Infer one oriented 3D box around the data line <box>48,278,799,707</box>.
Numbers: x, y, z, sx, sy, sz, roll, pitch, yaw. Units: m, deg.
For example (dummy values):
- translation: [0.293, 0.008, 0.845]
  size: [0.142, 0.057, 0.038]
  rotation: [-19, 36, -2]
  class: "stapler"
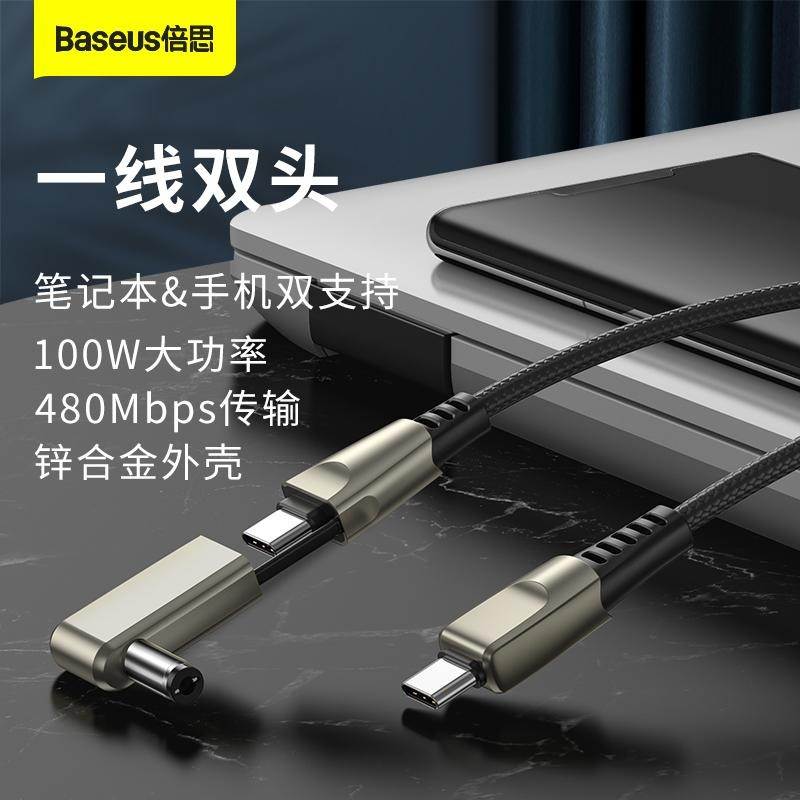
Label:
- translation: [0.029, 0.032, 0.307]
  size: [0.240, 0.016, 0.123]
  rotation: [-26, 35, -27]
  class: "data line"
